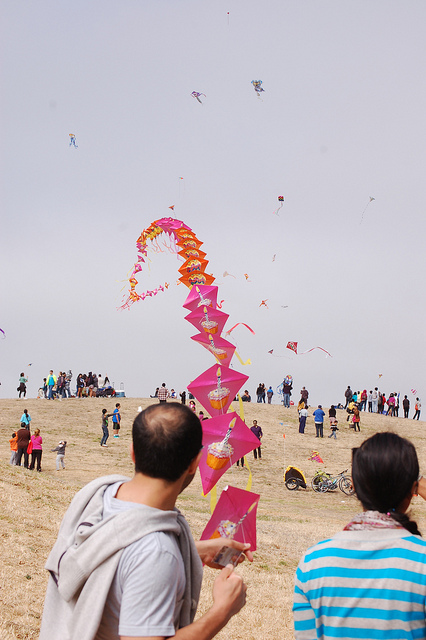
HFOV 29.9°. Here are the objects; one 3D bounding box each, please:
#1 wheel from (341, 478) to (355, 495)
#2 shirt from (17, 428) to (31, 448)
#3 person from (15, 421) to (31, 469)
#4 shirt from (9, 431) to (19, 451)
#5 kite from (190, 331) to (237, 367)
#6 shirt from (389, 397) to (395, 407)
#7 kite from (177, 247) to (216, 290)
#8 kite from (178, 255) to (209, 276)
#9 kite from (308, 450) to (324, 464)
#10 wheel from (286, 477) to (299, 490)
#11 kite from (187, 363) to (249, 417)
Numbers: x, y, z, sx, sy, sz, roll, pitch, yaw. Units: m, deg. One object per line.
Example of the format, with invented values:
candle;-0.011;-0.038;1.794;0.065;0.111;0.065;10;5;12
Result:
wheel;2.902;3.606;17.259;0.217;0.357;0.698;2;-7;5
shirt;-3.654;2.306;15.480;0.321;0.385;0.214;-2;13;-8
person;-3.690;2.423;15.582;0.273;0.902;0.273;3;6;-5
shirt;-3.897;2.400;15.737;0.118;0.364;0.739;4;-7;-16
kite;0.026;0.177;8.017;0.423;0.413;0.153;-6;-44;-2
shirt;7.585;3.499;34.130;0.142;0.346;0.296;9;-9;-43
kite;-0.189;-0.579;8.842;0.383;0.502;0.320;2;-7;-1
kite;-0.220;-0.605;8.867;0.280;0.242;0.125;3;-7;-4
kite;3.019;3.945;23.228;0.259;0.390;0.462;2;1;40
wheel;1.826;3.754;18.291;0.205;0.213;0.076;24;1;21
kite;0.058;0.689;7.357;0.547;0.745;0.035;-9;36;-7
